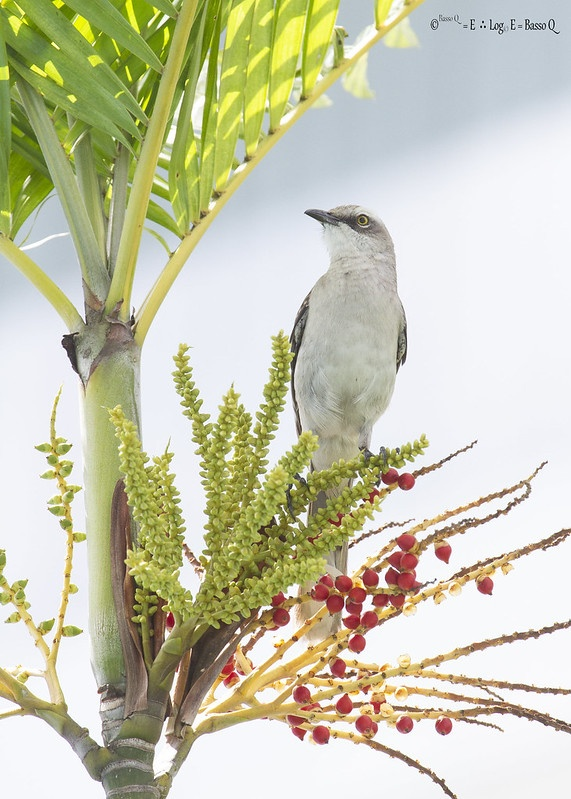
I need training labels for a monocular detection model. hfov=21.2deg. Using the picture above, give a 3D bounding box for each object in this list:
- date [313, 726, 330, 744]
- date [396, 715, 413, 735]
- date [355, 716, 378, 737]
[{"bbox_3d":[0.041,0.368,1.660,0.016,0.022,0.016,-2,26,-5],"label":"date"},{"bbox_3d":[0.130,0.362,1.688,0.016,0.020,0.011,2,6,5],"label":"date"},{"bbox_3d":[0.089,0.354,1.645,0.022,0.026,0.009,-25,19,-25],"label":"date"}]
